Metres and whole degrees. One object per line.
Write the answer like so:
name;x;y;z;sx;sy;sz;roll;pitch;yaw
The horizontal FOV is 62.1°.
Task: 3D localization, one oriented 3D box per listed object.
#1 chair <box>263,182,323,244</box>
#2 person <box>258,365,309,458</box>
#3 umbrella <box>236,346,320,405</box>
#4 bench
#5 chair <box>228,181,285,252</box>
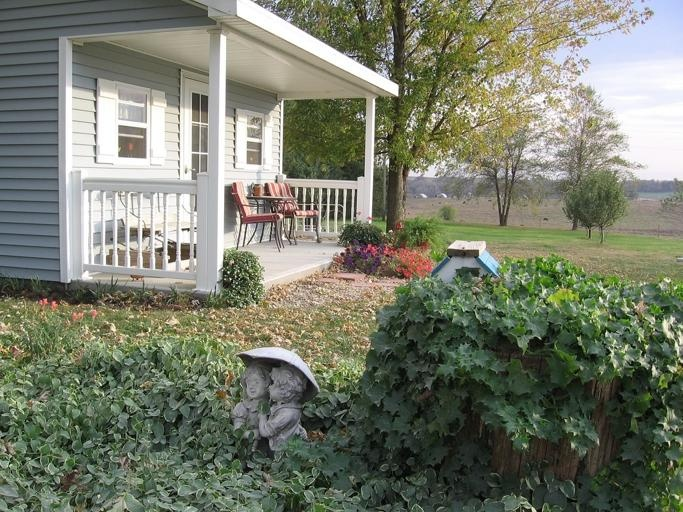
chair;-1.080;-0.960;12.605;1.000;1.451;0.860;0;5;33
person;-0.385;1.081;3.673;0.317;0.831;0.277;0;11;-10
umbrella;-0.387;0.708;3.554;0.373;0.394;0.167;17;50;23
bench;-2.864;-0.369;9.574;0.898;1.045;2.241;7;5;12
chair;-1.658;-0.790;11.327;0.984;1.425;1.014;0;7;14
